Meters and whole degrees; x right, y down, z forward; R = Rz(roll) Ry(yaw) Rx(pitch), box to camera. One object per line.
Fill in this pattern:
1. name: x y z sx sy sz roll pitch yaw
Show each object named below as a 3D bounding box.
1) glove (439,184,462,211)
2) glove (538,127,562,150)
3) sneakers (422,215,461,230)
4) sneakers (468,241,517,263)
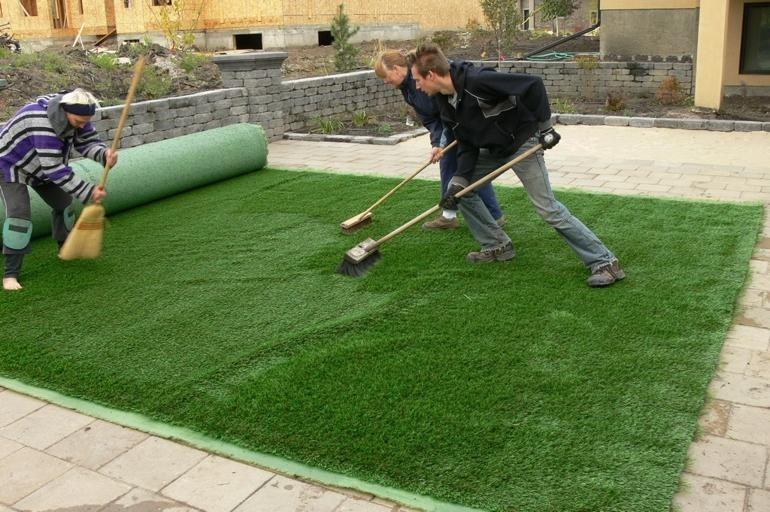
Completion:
1. glove: 0.577 -0.461 4.656 0.218 0.065 0.168 -39 22 -11
2. glove: 1.221 -0.883 4.392 0.185 0.059 0.177 26 57 35
3. sneakers: 0.554 -0.322 5.685 0.410 0.128 0.125 2 11 0
4. sneakers: 0.925 -0.025 4.944 0.461 0.163 0.148 0 18 2
